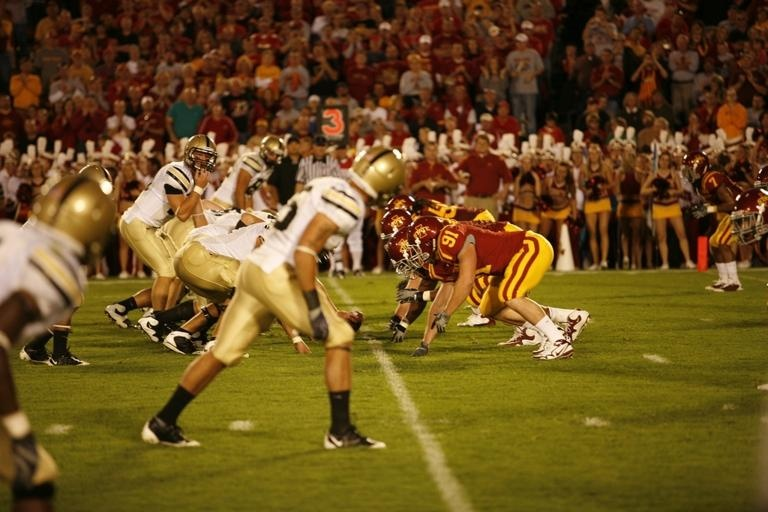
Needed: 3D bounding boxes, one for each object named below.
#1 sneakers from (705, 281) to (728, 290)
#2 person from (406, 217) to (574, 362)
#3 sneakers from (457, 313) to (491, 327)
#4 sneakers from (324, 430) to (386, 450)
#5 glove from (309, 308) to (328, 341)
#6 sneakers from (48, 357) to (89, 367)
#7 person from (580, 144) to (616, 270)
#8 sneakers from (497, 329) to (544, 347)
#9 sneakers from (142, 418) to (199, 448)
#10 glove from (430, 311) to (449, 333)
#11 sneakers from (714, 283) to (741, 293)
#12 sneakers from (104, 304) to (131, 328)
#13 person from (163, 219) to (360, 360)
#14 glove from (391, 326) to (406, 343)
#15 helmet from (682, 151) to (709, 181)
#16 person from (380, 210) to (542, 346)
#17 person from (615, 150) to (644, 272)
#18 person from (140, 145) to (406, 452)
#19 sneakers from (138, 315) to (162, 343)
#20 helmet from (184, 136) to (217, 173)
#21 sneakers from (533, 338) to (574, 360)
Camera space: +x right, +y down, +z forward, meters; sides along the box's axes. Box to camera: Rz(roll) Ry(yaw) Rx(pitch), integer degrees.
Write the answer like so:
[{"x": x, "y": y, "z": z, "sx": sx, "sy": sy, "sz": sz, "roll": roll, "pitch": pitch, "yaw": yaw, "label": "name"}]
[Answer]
[{"x": 4.582, "y": 0.418, "z": 10.989, "sx": 0.263, "sy": 0.099, "sz": 0.094, "roll": -1, "pitch": 2, "yaw": 7, "label": "sneakers"}, {"x": 1.015, "y": 0.292, "z": 7.005, "sx": 1.686, "sy": 1.162, "sz": 0.679, "roll": 2, "pitch": 0, "yaw": -37, "label": "person"}, {"x": 1.018, "y": 0.717, "z": 8.957, "sx": 0.410, "sy": 0.159, "sz": 0.139, "roll": 2, "pitch": -3, "yaw": -7, "label": "sneakers"}, {"x": -0.171, "y": 1.158, "z": 5.079, "sx": 0.403, "sy": 0.135, "sz": 0.141, "roll": 0, "pitch": -4, "yaw": -3, "label": "sneakers"}, {"x": -0.385, "y": 0.403, "z": 4.795, "sx": 0.107, "sy": 0.201, "sz": 0.086, "roll": -13, "pitch": 10, "yaw": 13, "label": "glove"}, {"x": -2.754, "y": 0.925, "z": 7.012, "sx": 0.345, "sy": 0.133, "sz": 0.121, "roll": 2, "pitch": 5, "yaw": -7, "label": "sneakers"}, {"x": 3.613, "y": -0.825, "z": 13.508, "sx": 0.542, "sy": 1.927, "sz": 0.659, "roll": 2, "pitch": 0, "yaw": 32, "label": "person"}, {"x": 1.369, "y": 0.818, "z": 7.869, "sx": 0.479, "sy": 0.197, "sz": 0.155, "roll": 0, "pitch": -3, "yaw": -2, "label": "sneakers"}, {"x": -1.275, "y": 1.116, "z": 5.049, "sx": 0.437, "sy": 0.177, "sz": 0.149, "roll": 11, "pitch": 6, "yaw": -12, "label": "sneakers"}, {"x": 0.493, "y": 0.567, "z": 6.915, "sx": 0.099, "sy": 0.167, "sz": 0.326, "roll": 2, "pitch": 0, "yaw": -4, "label": "glove"}, {"x": 4.705, "y": 0.438, "z": 10.916, "sx": 0.427, "sy": 0.153, "sz": 0.138, "roll": 1, "pitch": 0, "yaw": -7, "label": "sneakers"}, {"x": -2.808, "y": 0.643, "z": 8.456, "sx": 0.111, "sy": 0.145, "sz": 0.297, "roll": -13, "pitch": -45, "yaw": 25, "label": "sneakers"}, {"x": -1.215, "y": 0.244, "z": 7.329, "sx": 1.932, "sy": 0.977, "sz": 1.199, "roll": -7, "pitch": 12, "yaw": -20, "label": "person"}, {"x": 0.123, "y": 0.778, "z": 7.843, "sx": 0.178, "sy": 0.060, "sz": 0.127, "roll": -21, "pitch": 26, "yaw": 18, "label": "glove"}, {"x": 4.294, "y": -1.230, "z": 11.031, "sx": 0.416, "sy": 0.384, "sz": 0.318, "roll": 6, "pitch": 27, "yaw": 11, "label": "helmet"}, {"x": 0.852, "y": 0.182, "z": 6.639, "sx": 1.525, "sy": 0.849, "sz": 0.852, "roll": 3, "pitch": 2, "yaw": 21, "label": "person"}, {"x": 4.172, "y": -0.753, "z": 13.516, "sx": 0.443, "sy": 1.762, "sz": 0.666, "roll": 2, "pitch": 0, "yaw": 17, "label": "person"}, {"x": -0.605, "y": 0.259, "z": 4.962, "sx": 1.375, "sy": 1.841, "sz": 0.482, "roll": 2, "pitch": 0, "yaw": 11, "label": "person"}, {"x": -2.232, "y": 0.705, "z": 7.680, "sx": 0.176, "sy": 0.247, "sz": 0.083, "roll": -21, "pitch": 26, "yaw": 14, "label": "sneakers"}, {"x": -1.690, "y": -0.940, "z": 7.377, "sx": 0.287, "sy": 0.295, "sz": 0.360, "roll": 2, "pitch": 14, "yaw": -32, "label": "helmet"}, {"x": 1.506, "y": 0.819, "z": 7.156, "sx": 0.453, "sy": 0.192, "sz": 0.147, "roll": -8, "pitch": 12, "yaw": 10, "label": "sneakers"}]
